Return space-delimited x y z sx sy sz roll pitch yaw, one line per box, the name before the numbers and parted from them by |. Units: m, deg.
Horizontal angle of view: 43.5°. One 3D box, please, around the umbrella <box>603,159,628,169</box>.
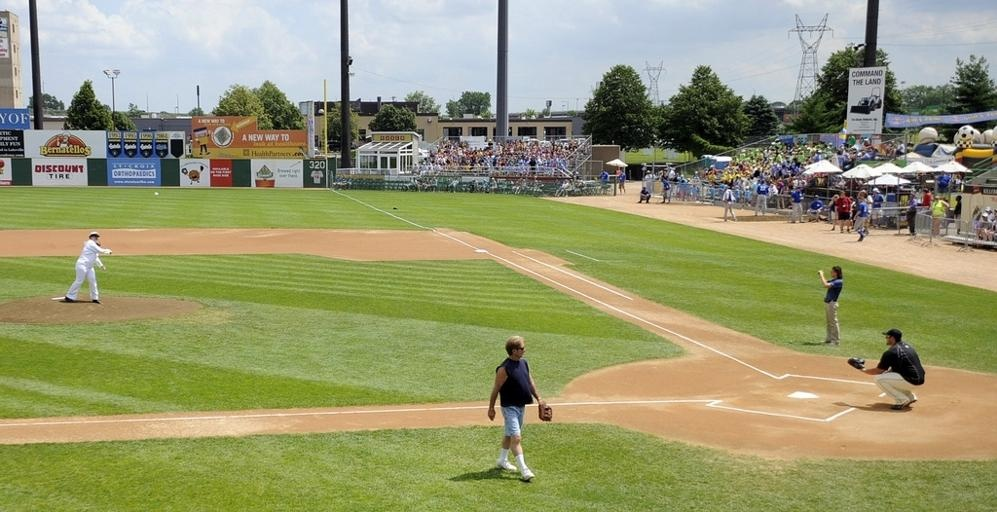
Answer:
umbrella | 11.839 -9.367 125.590 1.980 0.694 1.691 0 0 8
